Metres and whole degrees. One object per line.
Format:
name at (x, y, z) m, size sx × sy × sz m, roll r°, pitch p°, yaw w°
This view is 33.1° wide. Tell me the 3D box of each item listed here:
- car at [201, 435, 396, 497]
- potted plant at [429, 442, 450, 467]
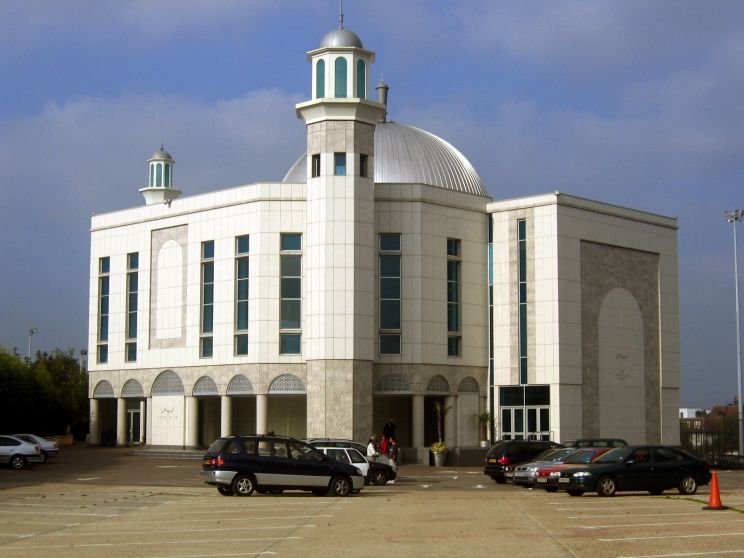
car at (-3.618, 7.495, 48.995) m, size 5.307 × 2.162 × 2.505 m, roll -1°, pitch -5°, yaw -19°
potted plant at (3.626, 9.741, 68.947) m, size 1.038 × 1.227 × 1.023 m, roll 2°, pitch -1°, yaw 13°
